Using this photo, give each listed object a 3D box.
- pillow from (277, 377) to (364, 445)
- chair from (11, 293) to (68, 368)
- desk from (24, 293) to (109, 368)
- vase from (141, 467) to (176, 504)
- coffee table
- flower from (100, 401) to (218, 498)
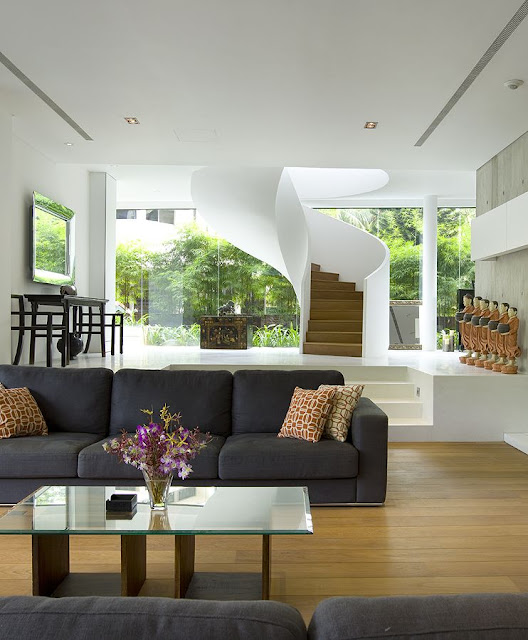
[{"bbox_3d":[0.364,0.629,3.728,0.443,0.405,0.131,4,-30,32],"label":"pillow"},{"bbox_3d":[-2.606,0.109,6.474,0.558,0.702,2.128,0,0,-24],"label":"chair"},{"bbox_3d":[-2.578,0.100,7.509,0.429,0.794,1.689,1,1,3],"label":"desk"},{"bbox_3d":[-0.444,0.721,2.464,0.168,0.159,0.160,0,-5,-6],"label":"vase"},{"bbox_3d":[-0.458,0.993,2.451,1.310,0.335,0.736,0,0,3],"label":"coffee table"},{"bbox_3d":[-0.582,0.727,3.111,0.575,0.550,0.516,2,-5,-13],"label":"flower"}]
